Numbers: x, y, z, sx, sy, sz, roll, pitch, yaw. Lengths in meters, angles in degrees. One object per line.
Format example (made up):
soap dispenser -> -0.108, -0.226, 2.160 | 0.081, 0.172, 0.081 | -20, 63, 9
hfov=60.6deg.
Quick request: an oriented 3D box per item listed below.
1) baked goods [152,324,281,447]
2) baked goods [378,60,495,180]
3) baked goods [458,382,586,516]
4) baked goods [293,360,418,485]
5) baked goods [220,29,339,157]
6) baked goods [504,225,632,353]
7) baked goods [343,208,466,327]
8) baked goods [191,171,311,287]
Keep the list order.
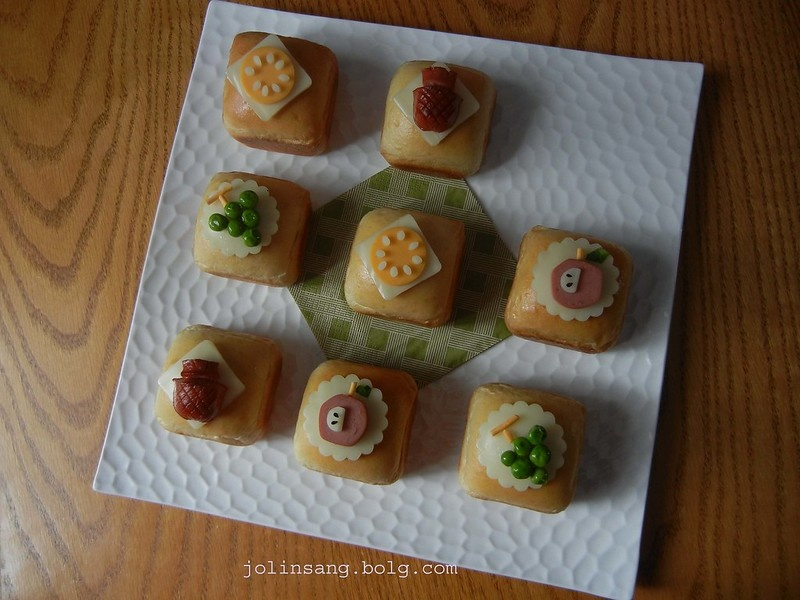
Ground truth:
baked goods -> -0.525, 0.240, 1.966 | 0.323, 0.163, 0.317 | 12, 80, 0
baked goods -> 0.110, -0.514, 2.057 | 0.288, 0.193, 0.340 | 9, 103, 2
baked goods -> 0.343, 0.409, 1.907 | 0.321, 0.146, 0.323 | 12, 80, 0
baked goods -> -0.127, 0.333, 1.919 | 0.317, 0.085, 0.317 | 11, 80, 0
baked goods -> -0.358, -0.620, 2.018 | 0.310, 0.122, 0.309 | 12, 80, 0
baked goods -> 0.480, -0.033, 1.926 | 0.317, 0.138, 0.299 | 15, 80, 1
baked goods -> 0.013, -0.102, 1.977 | 0.320, 0.142, 0.302 | 10, 80, 0
baked goods -> -0.433, -0.215, 2.004 | 0.314, 0.160, 0.300 | 10, 80, 0
